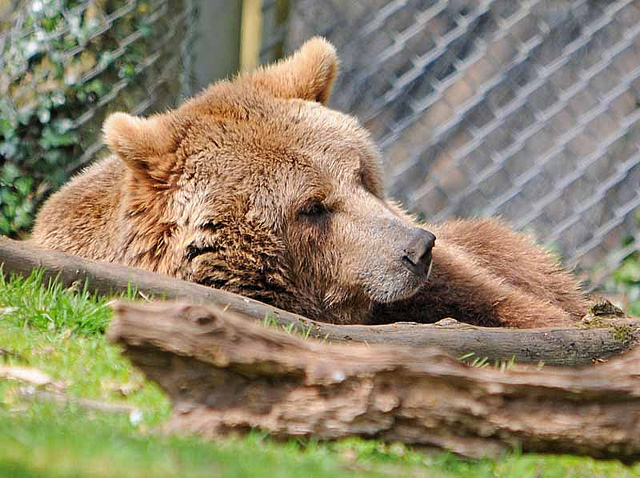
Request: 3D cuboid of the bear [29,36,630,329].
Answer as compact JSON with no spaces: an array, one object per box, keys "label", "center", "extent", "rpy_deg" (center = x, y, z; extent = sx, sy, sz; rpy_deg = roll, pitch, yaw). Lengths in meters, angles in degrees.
[{"label":"bear","center":[0.008,-0.177,5.846],"extent":[3.101,2.102,1.953],"rpy_deg":[15,33,24]}]
